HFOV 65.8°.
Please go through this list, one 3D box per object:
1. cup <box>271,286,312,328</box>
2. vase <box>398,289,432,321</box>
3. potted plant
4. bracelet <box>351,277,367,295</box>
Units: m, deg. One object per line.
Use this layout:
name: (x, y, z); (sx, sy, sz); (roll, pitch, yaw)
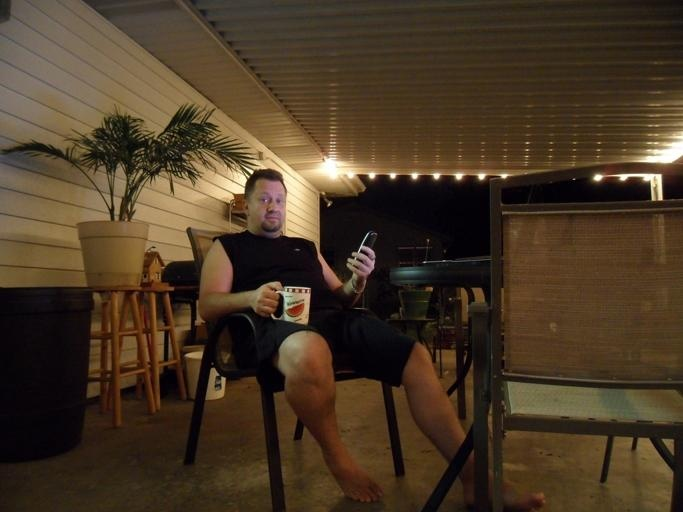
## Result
cup: (-0.201, 0.209, 2.248); (0.189, 0.175, 0.112); (1, -1, 0)
vase: (0.772, 0.528, 5.589); (0.321, 0.247, 0.323); (-7, -12, 32)
potted plant: (-1.513, -0.659, 4.151); (1.884, 1.281, 1.536); (-3, -9, 12)
bracelet: (0.089, 0.136, 2.611); (0.070, 0.083, 0.086); (11, -25, -26)
